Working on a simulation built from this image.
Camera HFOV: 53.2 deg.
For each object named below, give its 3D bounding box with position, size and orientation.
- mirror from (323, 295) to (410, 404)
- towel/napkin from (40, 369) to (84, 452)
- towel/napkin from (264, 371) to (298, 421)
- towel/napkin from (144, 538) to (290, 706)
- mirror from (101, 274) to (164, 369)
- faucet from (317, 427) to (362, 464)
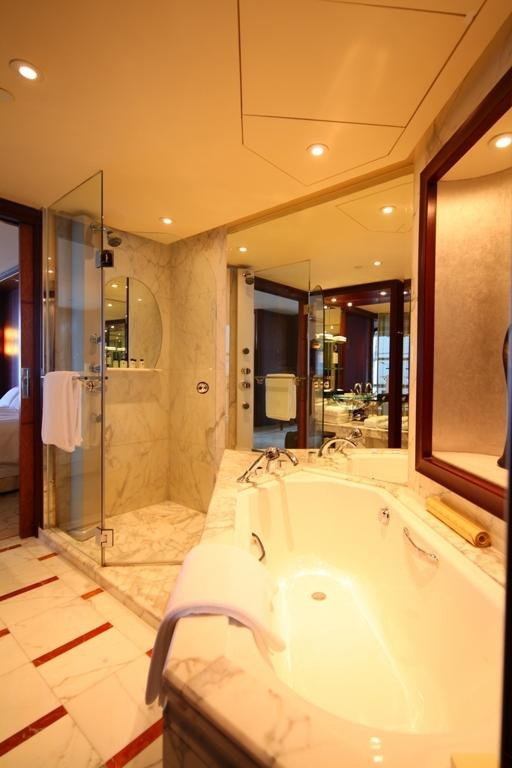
[{"bbox_3d":[0.510,-0.148,2.390,0.182,0.629,0.669,-7,9,-18],"label":"mirror"},{"bbox_3d":[-0.971,0.126,2.574,0.117,0.490,0.320,-4,8,-42],"label":"towel/napkin"},{"bbox_3d":[0.151,0.063,2.936,0.070,0.285,0.222,-1,3,-36],"label":"towel/napkin"},{"bbox_3d":[-0.100,0.567,1.286,0.318,0.198,0.391,-7,10,-1],"label":"towel/napkin"},{"bbox_3d":[-0.844,-0.423,3.345,0.491,0.693,0.024,-1,-27,-18],"label":"mirror"},{"bbox_3d":[0.408,0.316,2.551,0.081,0.142,0.304,2,-5,-20],"label":"faucet"}]
